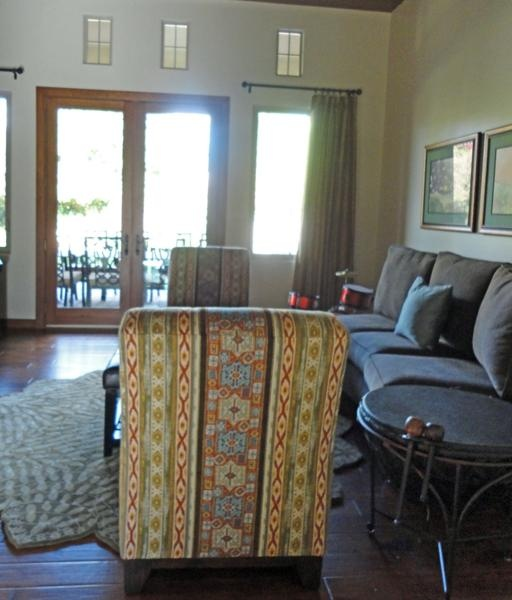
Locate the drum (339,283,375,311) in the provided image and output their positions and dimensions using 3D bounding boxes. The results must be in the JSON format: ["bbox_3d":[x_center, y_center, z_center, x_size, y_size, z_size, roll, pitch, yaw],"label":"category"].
[{"bbox_3d":[0.680,-0.034,4.357,0.180,0.144,0.180,15,3,-1],"label":"drum"}]

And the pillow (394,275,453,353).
[{"bbox_3d":[0.893,0.082,3.518,0.161,0.368,0.394,4,9,-16],"label":"pillow"}]

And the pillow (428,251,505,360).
[{"bbox_3d":[1.055,0.054,3.200,0.143,0.347,0.436,2,27,-6],"label":"pillow"}]

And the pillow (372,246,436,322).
[{"bbox_3d":[0.989,-0.078,4.290,0.190,0.505,0.522,-2,14,-18],"label":"pillow"}]

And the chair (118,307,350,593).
[{"bbox_3d":[-0.052,0.366,1.833,0.462,0.794,0.703,1,7,-2],"label":"chair"}]

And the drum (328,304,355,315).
[{"bbox_3d":[0.626,0.086,4.630,0.163,0.096,0.097,7,-1,-14],"label":"drum"}]
